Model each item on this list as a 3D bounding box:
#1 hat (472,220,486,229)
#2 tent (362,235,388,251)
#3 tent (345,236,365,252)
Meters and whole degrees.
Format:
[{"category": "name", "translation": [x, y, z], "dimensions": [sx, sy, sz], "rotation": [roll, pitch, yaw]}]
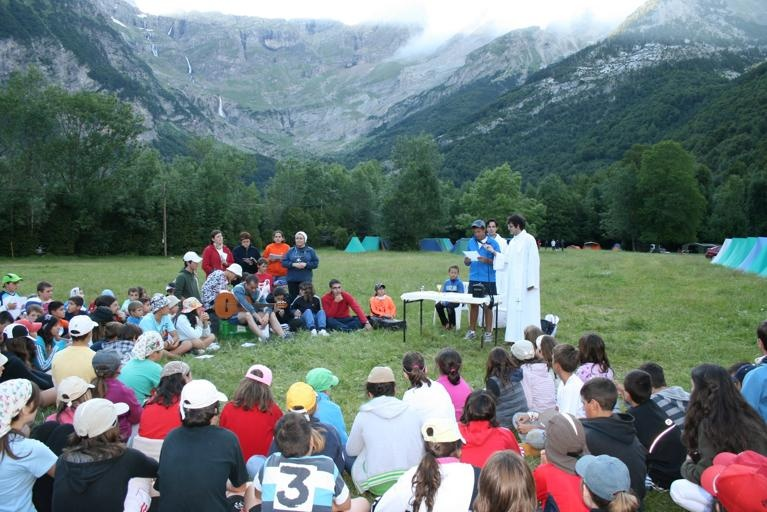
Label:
[{"category": "hat", "translation": [8.220, -2.757, 61.114], "dimensions": [0.636, 0.540, 0.940], "rotation": [-3, -18, 37]}, {"category": "tent", "translation": [-1.584, -1.795, 110.275], "dimensions": [2.413, 1.128, 2.526], "rotation": [0, 24, 12]}, {"category": "tent", "translation": [-3.952, -1.576, 106.604], "dimensions": [3.109, 3.255, 2.213], "rotation": [1, -3, -6]}]
